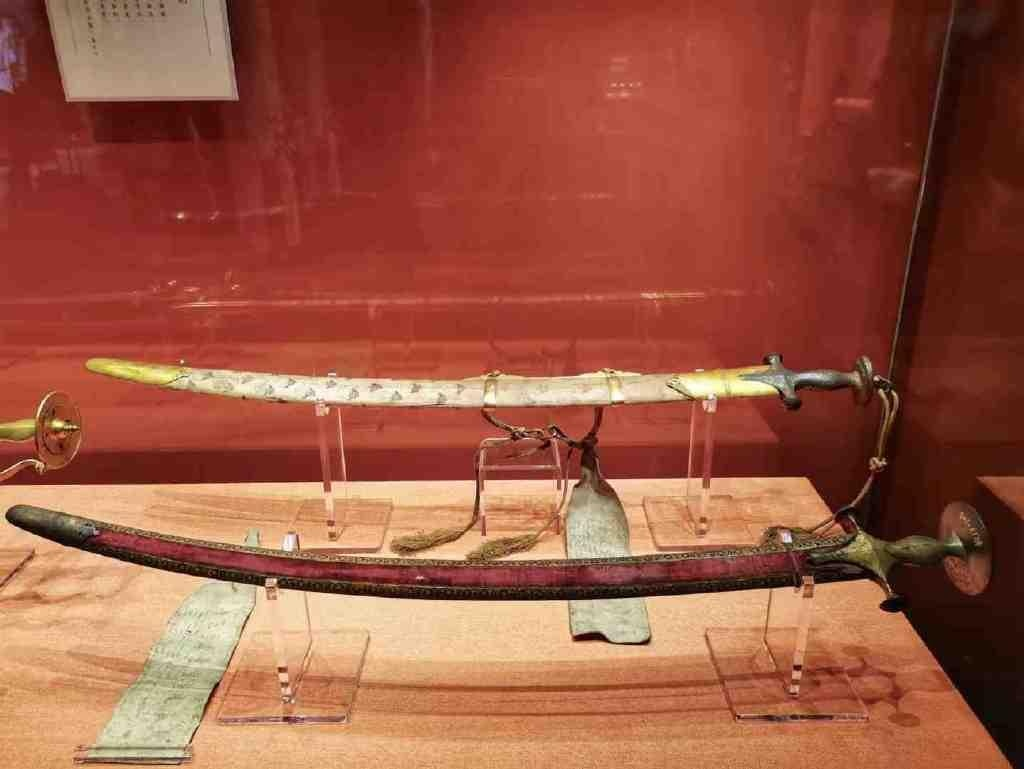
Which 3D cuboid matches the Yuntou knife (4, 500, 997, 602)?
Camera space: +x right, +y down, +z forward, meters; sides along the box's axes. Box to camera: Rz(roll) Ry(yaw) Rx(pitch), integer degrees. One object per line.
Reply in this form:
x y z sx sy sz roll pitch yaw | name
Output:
-0.031 0.588 2.895 2.600 0.347 0.283 -1 -72 5 | Yuntou knife
